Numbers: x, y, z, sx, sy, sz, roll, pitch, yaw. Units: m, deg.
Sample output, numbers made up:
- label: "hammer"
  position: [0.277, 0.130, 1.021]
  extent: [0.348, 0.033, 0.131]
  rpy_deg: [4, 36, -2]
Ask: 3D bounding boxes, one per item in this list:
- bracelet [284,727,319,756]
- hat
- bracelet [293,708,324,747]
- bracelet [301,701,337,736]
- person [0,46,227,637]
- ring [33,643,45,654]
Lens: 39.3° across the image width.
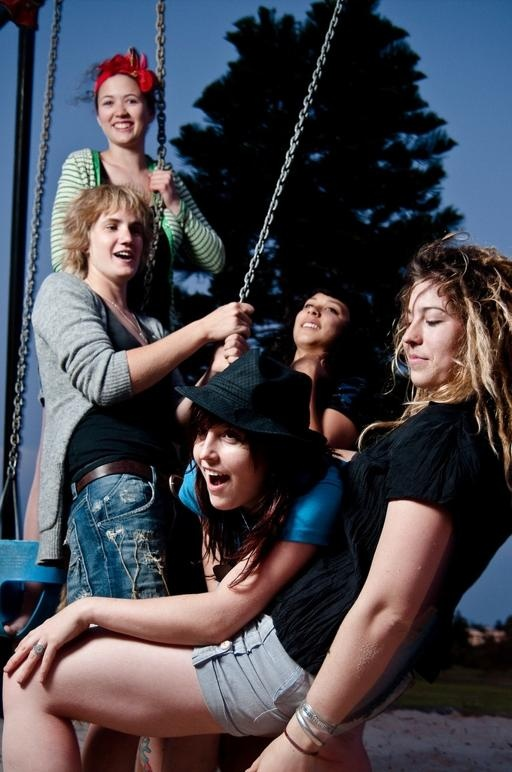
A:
- label: "bracelet"
  position: [0.078, 0.656, 1.311]
  extent: [0.057, 0.013, 0.053]
  rpy_deg: [34, -3, -28]
- label: "hat"
  position: [0.001, 0.025, 1.450]
  extent: [0.245, 0.084, 0.206]
  rpy_deg: [25, 7, -4]
- label: "bracelet"
  position: [0.095, 0.603, 1.275]
  extent: [0.035, 0.063, 0.054]
  rpy_deg: [-23, 18, -23]
- label: "bracelet"
  position: [0.119, 0.596, 1.281]
  extent: [0.053, 0.060, 0.029]
  rpy_deg: [23, 61, 41]
- label: "person"
  position: [-0.515, -0.472, 3.520]
  extent: [0.717, 2.206, 0.647]
  rpy_deg: [-16, 36, -13]
- label: "ring"
  position: [-0.419, 0.507, 1.379]
  extent: [0.019, 0.022, 0.009]
  rpy_deg: [1, 49, 3]
